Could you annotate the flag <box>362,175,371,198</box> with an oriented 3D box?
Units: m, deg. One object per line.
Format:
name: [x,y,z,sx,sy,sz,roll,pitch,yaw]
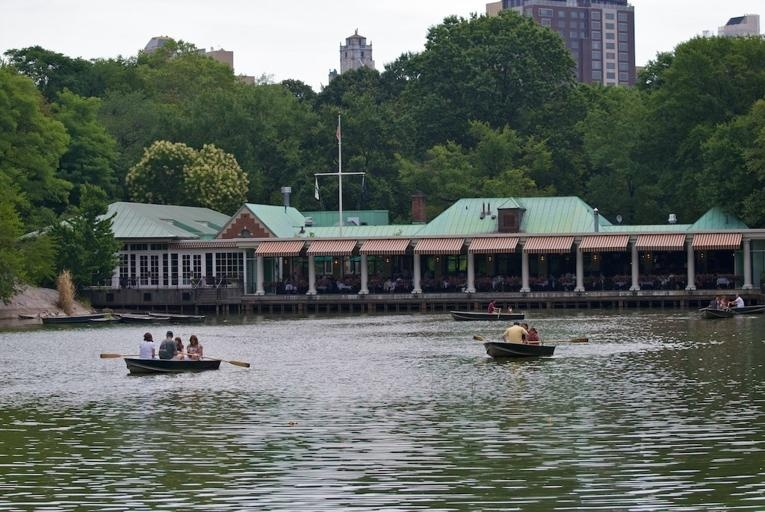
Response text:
flag: [-2.088,-7.961,211.222,0.812,2.181,1.540,-3,-2,0]

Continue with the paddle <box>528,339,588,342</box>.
paddle: [13.815,6.712,147.401,3.059,0.284,0.338,-1,18,-1]

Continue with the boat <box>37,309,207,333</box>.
boat: [-24.359,5.825,170.724,13.927,1.585,6.476,-2,-3,-12]

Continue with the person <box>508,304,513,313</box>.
person: [11.173,4.761,165.792,0.405,0.567,1.215,-1,-14,3]
